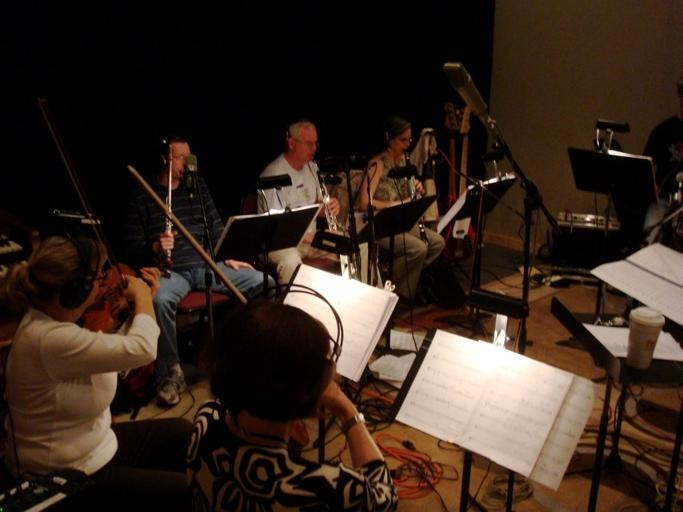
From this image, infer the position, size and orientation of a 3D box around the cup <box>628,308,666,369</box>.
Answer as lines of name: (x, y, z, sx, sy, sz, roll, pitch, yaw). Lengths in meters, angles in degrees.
cup: (1.426, 0.388, 2.847, 0.144, 0.265, 0.188, 9, 14, 27)

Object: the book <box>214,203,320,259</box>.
book: (-0.485, -0.143, 4.018, 0.297, 0.381, 0.694, 14, 18, 42)

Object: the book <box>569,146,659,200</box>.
book: (2.115, -0.628, 4.727, 0.526, 0.142, 0.527, 19, -19, 28)

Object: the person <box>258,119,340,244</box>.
person: (-0.359, -0.583, 4.858, 0.578, 1.152, 0.639, 19, 30, 29)

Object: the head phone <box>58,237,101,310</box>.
head phone: (-1.181, 0.081, 2.766, 0.115, 0.297, 0.205, -5, -5, -31)

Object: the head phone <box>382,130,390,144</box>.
head phone: (0.416, -1.064, 5.403, 0.067, 0.091, 0.098, -5, -30, -4)

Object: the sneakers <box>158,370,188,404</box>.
sneakers: (-1.183, 0.938, 4.261, 0.148, 0.235, 0.086, 6, -16, -17)

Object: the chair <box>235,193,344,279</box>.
chair: (-0.359, -0.103, 5.074, 0.679, 0.993, 0.707, -13, 19, -41)

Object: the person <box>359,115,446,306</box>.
person: (0.537, -0.401, 5.461, 0.689, 1.653, 1.248, 8, 14, 22)
